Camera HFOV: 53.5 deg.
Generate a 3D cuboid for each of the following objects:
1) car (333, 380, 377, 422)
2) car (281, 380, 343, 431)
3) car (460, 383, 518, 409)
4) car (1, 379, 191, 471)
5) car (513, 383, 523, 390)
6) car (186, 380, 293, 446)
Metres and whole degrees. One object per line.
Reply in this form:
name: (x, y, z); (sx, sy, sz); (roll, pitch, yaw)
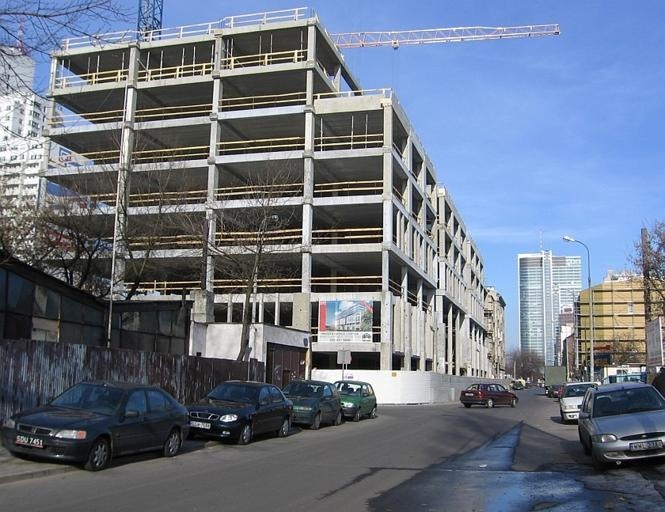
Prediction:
car: (0.936, 6.492, 29.835); (1.292, 1.056, 2.120); (-4, -17, 19)
car: (-0.787, 5.745, 25.459); (1.349, 1.084, 2.350); (-4, -18, 16)
car: (9.964, 8.910, 42.543); (2.529, 1.640, 3.011); (-9, -18, 34)
car: (-5.226, 3.880, 15.190); (1.697, 1.922, 3.767); (-7, -17, 30)
car: (32.702, 23.051, 117.029); (1.523, 1.370, 2.687); (-2, -22, 11)
car: (-2.808, 4.881, 20.638); (1.743, 1.902, 4.273); (-5, -17, 25)
